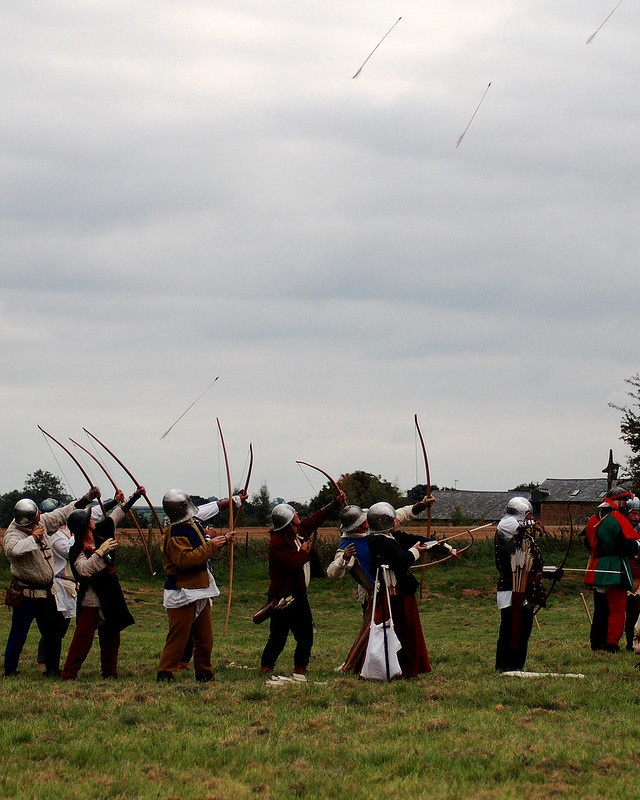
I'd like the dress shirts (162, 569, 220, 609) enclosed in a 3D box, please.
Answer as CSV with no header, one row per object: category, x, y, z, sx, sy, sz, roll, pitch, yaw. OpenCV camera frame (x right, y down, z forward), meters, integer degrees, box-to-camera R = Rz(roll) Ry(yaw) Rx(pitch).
dress shirts,-1.317,1.895,12.445,0.483,0.313,0.362,-17,-20,17

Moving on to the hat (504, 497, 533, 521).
hat,2.089,1.112,13.165,0.285,0.241,0.214,-5,18,-11

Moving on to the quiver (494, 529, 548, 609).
quiver,2.035,1.732,13.051,0.521,0.857,0.499,-2,-1,-11

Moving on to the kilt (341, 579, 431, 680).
kilt,0.714,2.353,12.787,1.110,0.981,0.821,2,-13,-3

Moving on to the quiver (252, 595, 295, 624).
quiver,-0.476,2.117,12.829,0.416,0.271,0.180,-1,-2,-2

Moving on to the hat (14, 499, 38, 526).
hat,-3.036,1.146,13.024,0.265,0.235,0.229,4,15,17

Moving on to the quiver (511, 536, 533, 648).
quiver,2.053,1.956,12.866,0.238,1.099,0.164,-2,-2,7

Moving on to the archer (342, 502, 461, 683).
archer,0.863,1.938,12.818,1.248,1.647,0.780,-3,3,-2

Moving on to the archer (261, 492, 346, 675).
archer,-0.200,1.888,13.214,0.865,1.771,0.766,1,-1,-6

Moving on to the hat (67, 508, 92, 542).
hat,-2.472,1.259,12.704,0.249,0.282,0.234,4,-1,-31

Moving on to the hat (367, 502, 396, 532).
hat,0.598,1.186,12.858,0.303,0.231,0.241,-13,17,-27

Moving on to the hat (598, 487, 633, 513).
hat,3.609,1.193,15.181,0.390,0.279,0.291,0,-1,-14

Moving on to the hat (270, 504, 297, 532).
hat,-0.407,1.207,13.171,0.154,0.250,0.299,45,-8,-19

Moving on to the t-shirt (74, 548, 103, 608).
t-shirt,-2.292,1.762,12.424,0.304,0.549,0.157,-2,-2,14

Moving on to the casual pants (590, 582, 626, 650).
casual pants,3.267,2.485,14.467,0.457,0.704,0.530,-2,-3,24

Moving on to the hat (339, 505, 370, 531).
hat,0.319,1.247,13.242,0.273,0.145,0.273,-25,0,-32
